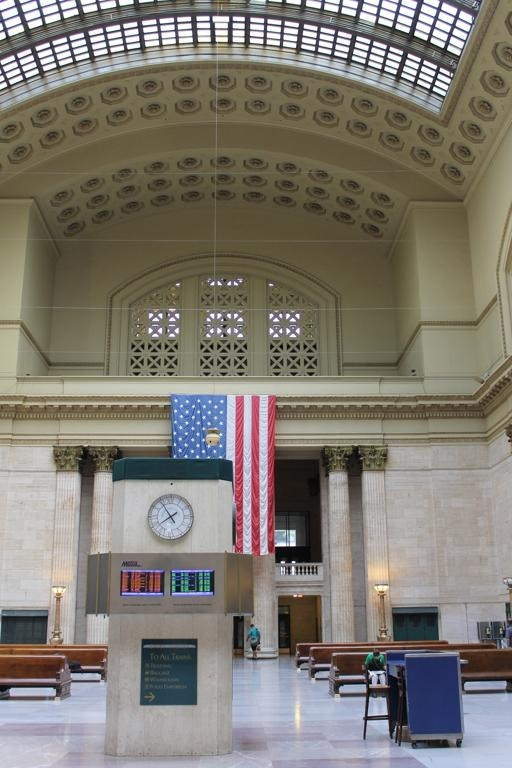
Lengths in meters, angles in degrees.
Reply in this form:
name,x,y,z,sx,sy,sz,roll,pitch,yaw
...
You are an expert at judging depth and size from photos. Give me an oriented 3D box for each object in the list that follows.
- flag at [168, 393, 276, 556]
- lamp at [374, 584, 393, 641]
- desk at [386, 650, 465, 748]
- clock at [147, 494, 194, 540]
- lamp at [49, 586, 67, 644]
name,x,y,z,sx,sy,sz,roll,pitch,yaw
flag,-0.923,3.368,23.865,3.542,6.072,0.576,1,-17,-9
lamp,4.546,8.148,22.451,0.540,1.835,1.571,-5,-17,9
desk,1.847,3.487,6.876,0.482,0.777,1.168,-2,-13,2
clock,-0.922,1.470,6.793,0.474,0.502,0.069,1,-20,1
lamp,-6.892,8.075,21.940,0.449,1.828,1.756,3,-17,-17
